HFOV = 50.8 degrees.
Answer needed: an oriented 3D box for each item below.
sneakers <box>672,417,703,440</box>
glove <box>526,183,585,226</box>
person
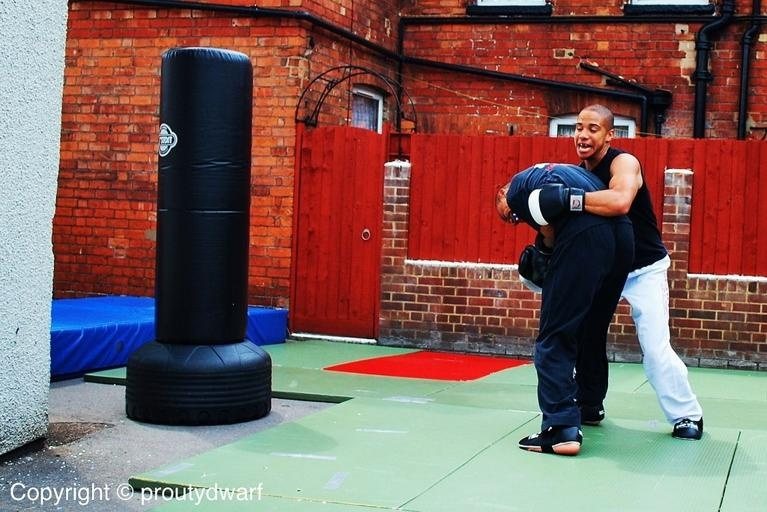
[{"bbox_3d":[2.410,1.364,6.370,0.140,0.142,0.350,-1,-8,19],"label":"sneakers"},{"bbox_3d":[1.417,-0.419,6.098,0.455,0.298,0.587,1,2,-13],"label":"glove"},{"bbox_3d":[1.665,0.136,6.297,1.383,2.640,0.727,-2,7,-19],"label":"person"}]
